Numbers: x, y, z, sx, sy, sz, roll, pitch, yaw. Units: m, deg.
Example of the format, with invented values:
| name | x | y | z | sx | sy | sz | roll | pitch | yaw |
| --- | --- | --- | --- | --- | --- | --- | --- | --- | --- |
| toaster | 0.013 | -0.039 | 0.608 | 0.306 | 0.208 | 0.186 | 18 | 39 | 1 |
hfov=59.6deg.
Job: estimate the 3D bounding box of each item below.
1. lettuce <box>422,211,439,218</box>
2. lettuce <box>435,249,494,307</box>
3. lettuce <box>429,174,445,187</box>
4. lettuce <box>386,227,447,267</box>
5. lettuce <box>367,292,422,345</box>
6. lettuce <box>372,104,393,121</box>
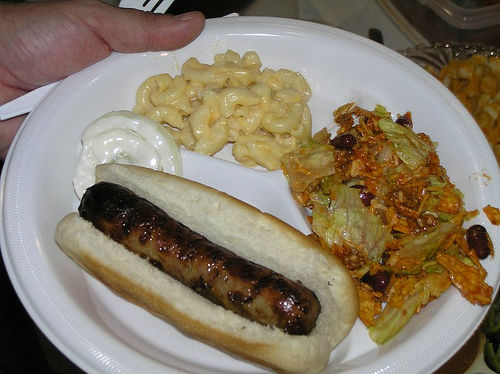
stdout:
| name | x | y | z | sx | sy | sz | roll | pitch | yaw |
| --- | --- | --- | --- | --- | --- | --- | --- | --- | --- |
| lettuce | 1.437 | 0.208 | 3.458 | 0.125 | 0.013 | 0.041 | 14 | 79 | -1 |
| lettuce | 1.598 | 0.678 | 3.215 | 0.330 | 0.085 | 0.363 | 18 | 51 | -1 |
| lettuce | 1.502 | -0.064 | 3.507 | 0.108 | 0.030 | 0.103 | 0 | 80 | -3 |
| lettuce | 1.277 | 0.471 | 3.368 | 0.401 | 0.098 | 0.262 | -32 | 86 | -6 |
| lettuce | 1.101 | 1.012 | 3.410 | 0.495 | 0.121 | 0.251 | -43 | 76 | -2 |
| lettuce | 1.143 | -0.646 | 3.739 | 0.131 | 0.069 | 0.103 | 20 | 78 | 8 |
